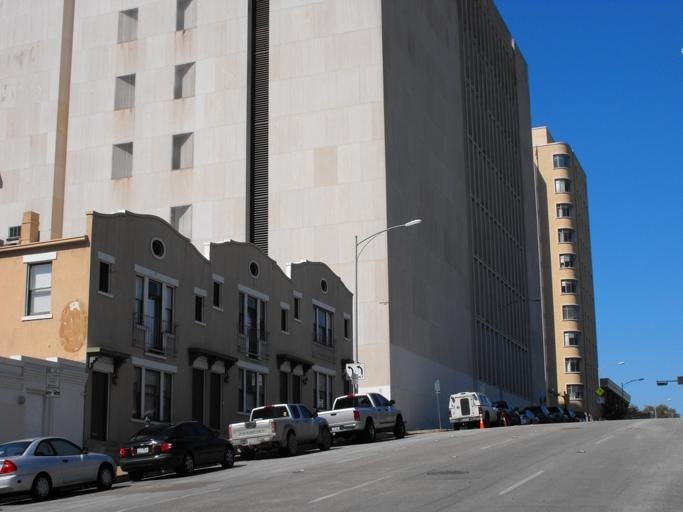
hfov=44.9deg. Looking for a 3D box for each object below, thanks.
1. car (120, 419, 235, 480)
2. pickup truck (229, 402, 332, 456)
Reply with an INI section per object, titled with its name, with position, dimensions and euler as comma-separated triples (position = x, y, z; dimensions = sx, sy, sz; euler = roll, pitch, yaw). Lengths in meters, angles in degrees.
[car]
position = -5.659, 6.767, 29.247
dimensions = 2.871, 2.438, 3.825
euler = 0, -10, -4
[pickup truck]
position = -2.126, 7.363, 34.421
dimensions = 2.124, 2.121, 5.469
euler = -18, -22, 33
